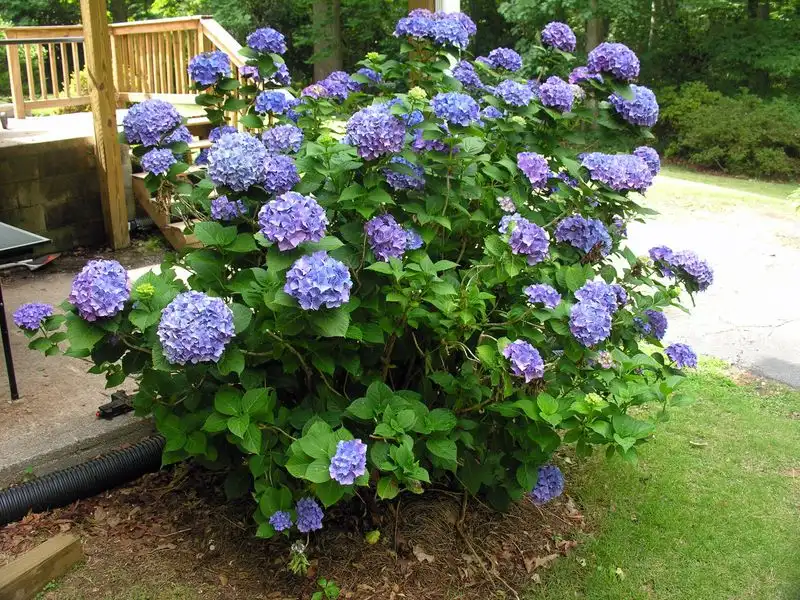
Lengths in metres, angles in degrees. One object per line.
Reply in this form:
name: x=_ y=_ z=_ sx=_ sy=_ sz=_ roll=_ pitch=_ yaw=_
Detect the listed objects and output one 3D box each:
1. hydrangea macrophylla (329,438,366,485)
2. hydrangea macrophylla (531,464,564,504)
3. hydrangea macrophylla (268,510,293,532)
hydrangea macrophylla: x=-0.193 y=0.577 z=1.849 sx=0.129 sy=0.143 sz=0.173 roll=-3 pitch=26 yaw=-12
hydrangea macrophylla: x=0.726 y=0.890 z=2.546 sx=0.158 sy=0.118 sz=0.161 roll=11 pitch=30 yaw=34
hydrangea macrophylla: x=-0.504 y=0.937 z=2.179 sx=0.088 sy=0.088 sz=0.054 roll=-1 pitch=-19 yaw=-13
